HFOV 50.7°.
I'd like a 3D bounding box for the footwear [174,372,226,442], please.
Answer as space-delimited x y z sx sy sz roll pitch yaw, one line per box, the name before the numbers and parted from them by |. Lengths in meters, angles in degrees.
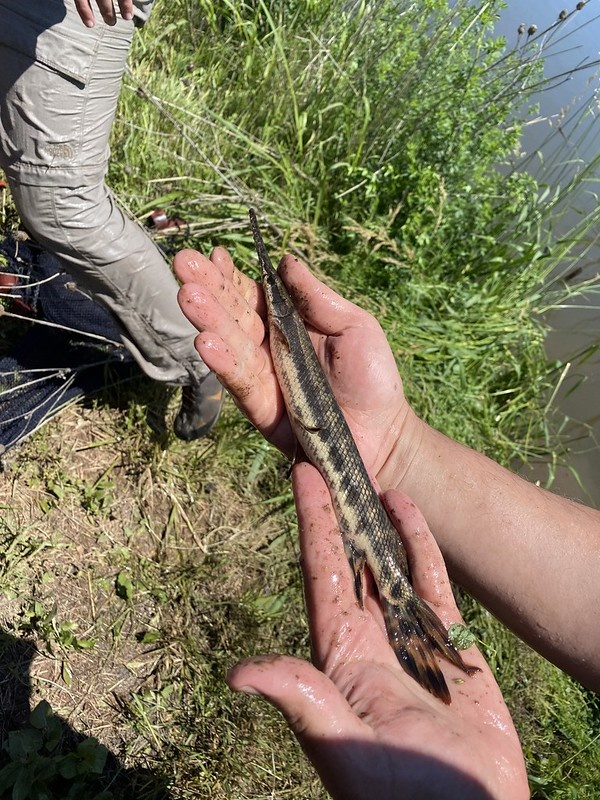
footwear | -0.566 0.055 3.565 0.175 0.460 0.203 32 29 21
